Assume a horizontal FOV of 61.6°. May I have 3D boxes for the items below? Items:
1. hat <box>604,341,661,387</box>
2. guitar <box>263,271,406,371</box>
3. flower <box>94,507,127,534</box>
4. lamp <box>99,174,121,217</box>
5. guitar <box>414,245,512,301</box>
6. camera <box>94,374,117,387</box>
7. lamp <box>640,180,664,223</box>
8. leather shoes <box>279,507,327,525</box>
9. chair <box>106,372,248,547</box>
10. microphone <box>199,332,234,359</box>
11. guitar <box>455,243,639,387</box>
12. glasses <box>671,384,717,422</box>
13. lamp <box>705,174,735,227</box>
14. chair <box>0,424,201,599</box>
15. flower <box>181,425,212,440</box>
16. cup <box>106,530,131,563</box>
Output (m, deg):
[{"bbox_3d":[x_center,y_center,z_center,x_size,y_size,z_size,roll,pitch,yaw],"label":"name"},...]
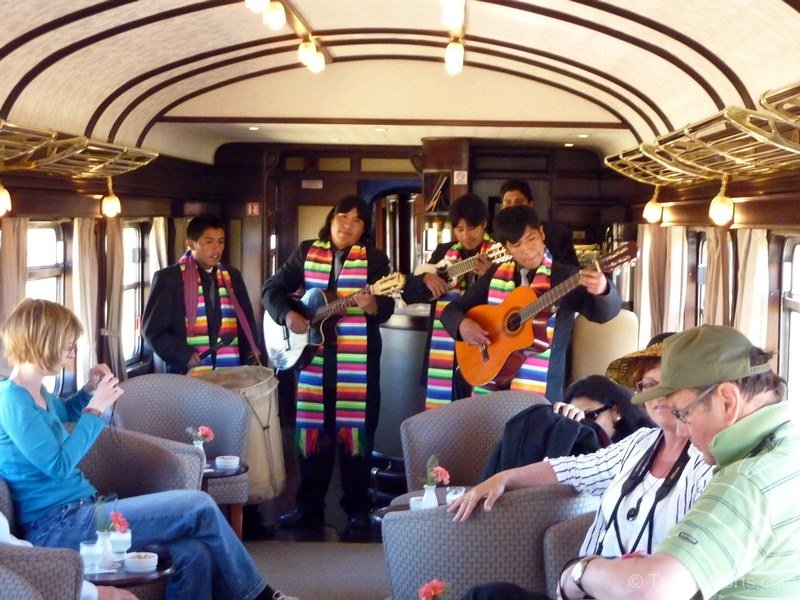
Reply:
[{"bbox_3d":[0.960,0.236,2.787,0.172,0.070,0.226,35,-31,-4],"label":"hat"},{"bbox_3d":[-0.566,0.169,5.823,1.345,0.691,0.213,-29,-20,32],"label":"guitar"},{"bbox_3d":[-1.390,1.058,3.207,0.112,0.130,0.181,6,-30,-47],"label":"flower"},{"bbox_3d":[-2.926,-1.052,6.751,0.164,0.414,0.631,0,2,-24],"label":"lamp"},{"bbox_3d":[0.569,-0.161,5.742,0.401,0.126,1.161,13,26,29],"label":"guitar"},{"bbox_3d":[-1.580,0.430,3.592,0.080,0.050,0.050,-29,-24,27],"label":"camera"},{"bbox_3d":[2.660,-1.025,7.061,0.177,0.405,0.689,2,2,21],"label":"lamp"},{"bbox_3d":[-0.856,1.882,5.932,0.373,0.179,0.163,6,-6,-12],"label":"leather shoes"},{"bbox_3d":[-1.561,1.122,5.060,1.024,1.216,1.056,1,-1,-34],"label":"chair"},{"bbox_3d":[-1.625,0.397,6.012,0.423,0.113,0.086,-34,-4,-10],"label":"microphone"},{"bbox_3d":[0.866,0.116,4.551,0.197,0.625,1.429,11,-37,-45],"label":"guitar"},{"bbox_3d":[0.859,0.287,1.989,0.111,0.030,0.106,-44,0,-7],"label":"glasses"},{"bbox_3d":[2.454,-0.782,5.137,0.236,0.402,0.241,6,7,44],"label":"lamp"},{"bbox_3d":[-1.627,1.089,3.816,0.662,0.712,0.801,0,1,19],"label":"chair"},{"bbox_3d":[-1.427,0.927,4.696,0.116,0.108,0.122,8,-7,11],"label":"flower"},{"bbox_3d":[-1.341,1.174,3.205,0.117,0.143,0.123,0,-6,0],"label":"cup"}]
